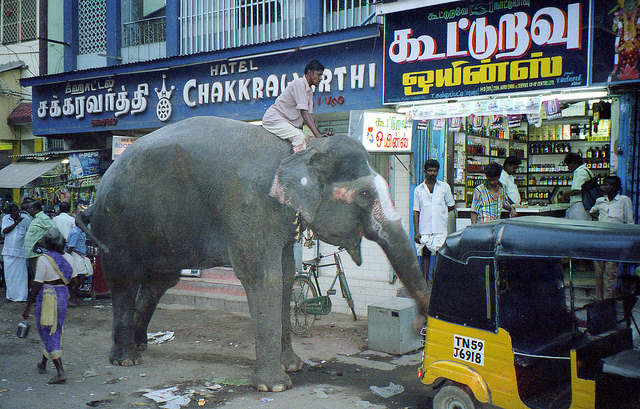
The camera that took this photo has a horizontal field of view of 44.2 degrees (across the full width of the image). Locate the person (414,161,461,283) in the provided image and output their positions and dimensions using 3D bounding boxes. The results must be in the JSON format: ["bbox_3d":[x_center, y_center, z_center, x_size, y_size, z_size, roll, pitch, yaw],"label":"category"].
[{"bbox_3d":[2.313,0.180,15.816,0.861,2.653,0.789,2,2,25],"label":"person"}]

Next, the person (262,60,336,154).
[{"bbox_3d":[-0.350,-1.576,13.438,0.813,1.918,1.235,1,1,19],"label":"person"}]

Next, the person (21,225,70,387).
[{"bbox_3d":[-4.590,1.701,13.427,1.000,2.420,0.723,1,1,37],"label":"person"}]

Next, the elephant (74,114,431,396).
[{"bbox_3d":[-1.194,0.314,15.420,7.099,5.279,3.106,0,4,11],"label":"elephant"}]

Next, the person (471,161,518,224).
[{"bbox_3d":[3.287,-0.231,15.164,0.814,1.128,0.579,-2,11,-1],"label":"person"}]

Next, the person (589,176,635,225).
[{"bbox_3d":[5.432,-0.052,14.642,0.440,0.852,0.709,11,-13,-37],"label":"person"}]

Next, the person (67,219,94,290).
[{"bbox_3d":[-5.395,1.164,17.746,0.561,1.768,0.808,1,2,16],"label":"person"}]

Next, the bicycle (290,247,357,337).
[{"bbox_3d":[0.100,1.669,15.944,1.205,1.637,2.538,-4,-4,37],"label":"bicycle"}]
